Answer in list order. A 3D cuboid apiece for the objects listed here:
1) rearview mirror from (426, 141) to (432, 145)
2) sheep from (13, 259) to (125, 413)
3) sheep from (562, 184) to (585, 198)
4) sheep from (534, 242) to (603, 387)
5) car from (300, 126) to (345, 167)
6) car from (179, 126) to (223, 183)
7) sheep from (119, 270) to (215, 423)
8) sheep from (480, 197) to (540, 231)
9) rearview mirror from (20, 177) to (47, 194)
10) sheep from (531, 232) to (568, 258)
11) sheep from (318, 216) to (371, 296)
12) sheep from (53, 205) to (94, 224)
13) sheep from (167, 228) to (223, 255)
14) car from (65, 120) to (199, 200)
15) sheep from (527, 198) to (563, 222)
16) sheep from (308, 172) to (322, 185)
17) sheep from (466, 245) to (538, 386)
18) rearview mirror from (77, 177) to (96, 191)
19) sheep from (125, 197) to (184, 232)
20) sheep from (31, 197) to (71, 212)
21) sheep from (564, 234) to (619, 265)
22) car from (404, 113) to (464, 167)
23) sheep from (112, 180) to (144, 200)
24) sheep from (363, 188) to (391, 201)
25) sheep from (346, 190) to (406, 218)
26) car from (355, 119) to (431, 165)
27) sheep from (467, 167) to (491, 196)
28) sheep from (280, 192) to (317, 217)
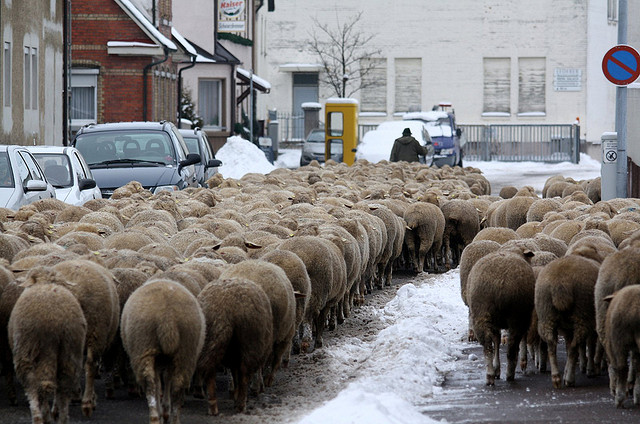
[{"bbox_3d":[3.782,-2.420,41.685,0.093,0.085,0.157,-4,-7,-15],"label":"rearview mirror"},{"bbox_3d":[-4.262,1.502,20.279,1.443,1.746,2.754,-1,9,-11],"label":"sheep"},{"bbox_3d":[6.121,-0.550,29.174,0.369,0.249,0.438,-2,7,9],"label":"sheep"},{"bbox_3d":[4.520,1.804,21.144,1.282,2.364,3.074,1,-2,21],"label":"sheep"},{"bbox_3d":[-0.073,-2.719,49.098,1.271,1.001,2.679,-1,-1,3],"label":"car"},{"bbox_3d":[-3.200,-1.651,32.492,1.061,0.912,1.799,-1,0,3],"label":"car"},{"bbox_3d":[-2.499,2.173,19.316,1.174,2.219,1.139,-6,6,-44],"label":"sheep"},{"bbox_3d":[4.150,-0.006,26.029,0.643,0.582,1.063,6,0,-21],"label":"sheep"},{"bbox_3d":[-5.950,-0.534,24.993,0.500,0.287,0.382,-3,5,-17],"label":"rearview mirror"},{"bbox_3d":[4.124,0.569,21.758,0.634,0.347,0.318,28,6,21],"label":"sheep"},{"bbox_3d":[0.359,0.612,24.128,0.786,1.343,1.871,-1,-2,21],"label":"sheep"},{"bbox_3d":[-4.879,0.032,23.726,0.384,0.270,0.472,-6,5,6],"label":"sheep"},{"bbox_3d":[-2.426,0.493,22.136,0.671,0.368,0.564,-1,2,-9],"label":"sheep"},{"bbox_3d":[-4.344,-1.287,29.044,1.877,1.389,2.814,-1,-2,1],"label":"car"},{"bbox_3d":[4.646,-0.049,24.886,0.682,0.436,0.771,-1,5,10],"label":"sheep"},{"bbox_3d":[-0.133,-0.886,30.762,0.251,0.209,0.387,2,2,3],"label":"sheep"},{"bbox_3d":[3.069,1.756,20.155,1.104,2.115,0.586,-1,5,7],"label":"sheep"},{"bbox_3d":[-5.152,-0.631,26.504,0.379,0.284,0.333,-3,5,-14],"label":"rearview mirror"},{"bbox_3d":[-3.257,-0.002,23.873,0.952,0.502,0.532,-15,19,-36],"label":"sheep"},{"bbox_3d":[-5.578,-0.170,24.847,0.371,0.223,0.684,15,8,33],"label":"sheep"},{"bbox_3d":[4.685,0.637,20.792,0.469,0.490,0.877,4,-1,24],"label":"sheep"},{"bbox_3d":[4.484,-2.873,47.570,1.938,1.611,2.996,-3,0,7],"label":"car"},{"bbox_3d":[-4.320,-0.498,27.045,0.403,0.228,0.599,4,22,32],"label":"sheep"},{"bbox_3d":[1.335,-0.404,28.220,0.292,0.247,0.490,-13,1,21],"label":"sheep"},{"bbox_3d":[1.345,-0.188,26.939,1.358,0.722,0.439,8,6,14],"label":"sheep"},{"bbox_3d":[2.342,-2.468,41.144,1.469,1.177,2.386,0,-1,17],"label":"car"},{"bbox_3d":[4.719,-1.014,35.577,0.587,0.781,1.174,-14,24,14],"label":"sheep"},{"bbox_3d":[-0.442,-0.178,25.312,0.369,0.374,0.743,10,1,-10],"label":"sheep"}]
